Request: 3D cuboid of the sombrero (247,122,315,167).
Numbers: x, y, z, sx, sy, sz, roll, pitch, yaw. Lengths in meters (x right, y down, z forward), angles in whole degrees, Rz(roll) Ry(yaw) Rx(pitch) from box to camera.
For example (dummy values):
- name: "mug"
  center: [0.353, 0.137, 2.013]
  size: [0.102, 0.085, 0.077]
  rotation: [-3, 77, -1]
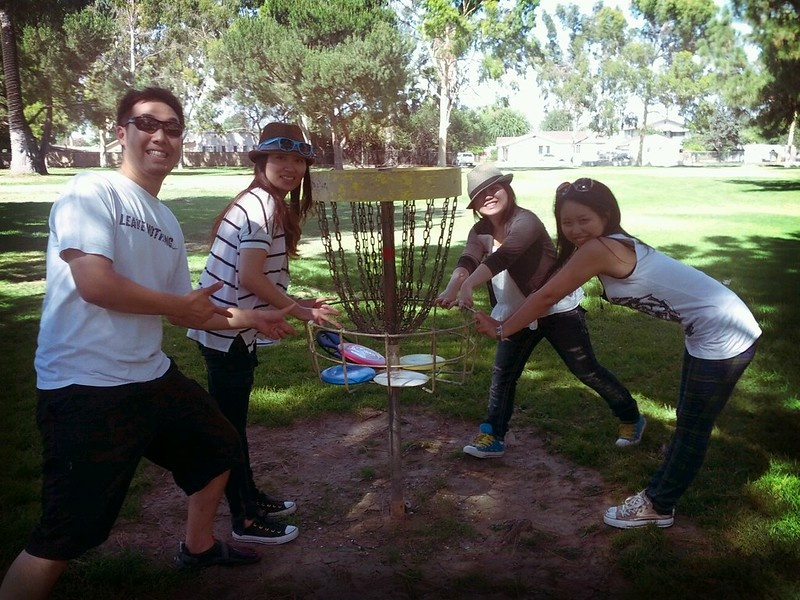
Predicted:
- name: "sombrero"
  center: [-0.588, -0.832, 2.772]
  size: [0.284, 0.139, 0.322]
  rotation: [6, 19, -18]

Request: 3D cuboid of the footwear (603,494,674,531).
- name: "footwear"
  center: [1.319, 1.198, 3.136]
  size: [0.436, 0.195, 0.172]
  rotation: [1, 3, 9]

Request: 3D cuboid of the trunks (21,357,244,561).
- name: "trunks"
  center: [-1.159, 0.740, 2.427]
  size: [0.401, 0.743, 1.029]
  rotation: [-17, 2, 33]

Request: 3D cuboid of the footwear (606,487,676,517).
- name: "footwear"
  center: [1.345, 1.178, 3.111]
  size: [0.380, 0.172, 0.162]
  rotation: [1, 6, 8]

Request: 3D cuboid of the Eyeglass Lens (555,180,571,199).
- name: "Eyeglass Lens"
  center: [0.893, -0.599, 2.961]
  size: [0.084, 0.044, 0.113]
  rotation: [-4, 38, 39]

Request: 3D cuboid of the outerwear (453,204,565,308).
- name: "outerwear"
  center: [0.676, -0.242, 3.599]
  size: [0.630, 0.571, 0.490]
  rotation: [-15, 7, -41]

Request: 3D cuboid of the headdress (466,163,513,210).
- name: "headdress"
  center: [0.601, -0.717, 3.524]
  size: [0.316, 0.185, 0.372]
  rotation: [-28, 6, 21]

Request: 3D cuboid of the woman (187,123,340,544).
- name: "woman"
  center: [-0.703, 0.239, 2.996]
  size: [1.019, 2.205, 0.698]
  rotation: [0, 7, 14]

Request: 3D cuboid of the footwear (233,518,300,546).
- name: "footwear"
  center: [-0.760, 1.283, 3.085]
  size: [0.350, 0.133, 0.147]
  rotation: [0, -2, -9]

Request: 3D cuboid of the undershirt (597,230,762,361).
- name: "undershirt"
  center: [1.407, -0.022, 3.076]
  size: [0.946, 0.648, 0.521]
  rotation: [-1, 1, 12]

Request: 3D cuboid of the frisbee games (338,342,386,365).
- name: "frisbee games"
  center: [-0.195, 0.292, 2.838]
  size: [0.156, 0.032, 0.154]
  rotation: [17, 9, 4]

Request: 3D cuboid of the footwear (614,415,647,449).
- name: "footwear"
  center: [1.688, 0.976, 3.956]
  size: [0.132, 0.322, 0.121]
  rotation: [19, 9, -38]

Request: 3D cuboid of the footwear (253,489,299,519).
- name: "footwear"
  center: [-0.754, 1.228, 3.256]
  size: [0.334, 0.131, 0.110]
  rotation: [0, 18, -13]

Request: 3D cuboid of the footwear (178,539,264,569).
- name: "footwear"
  center: [-0.915, 1.292, 2.802]
  size: [0.424, 0.151, 0.163]
  rotation: [3, -6, -21]

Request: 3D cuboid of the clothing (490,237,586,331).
- name: "clothing"
  center: [0.838, -0.106, 3.288]
  size: [0.480, 0.309, 0.544]
  rotation: [-10, 48, -5]
